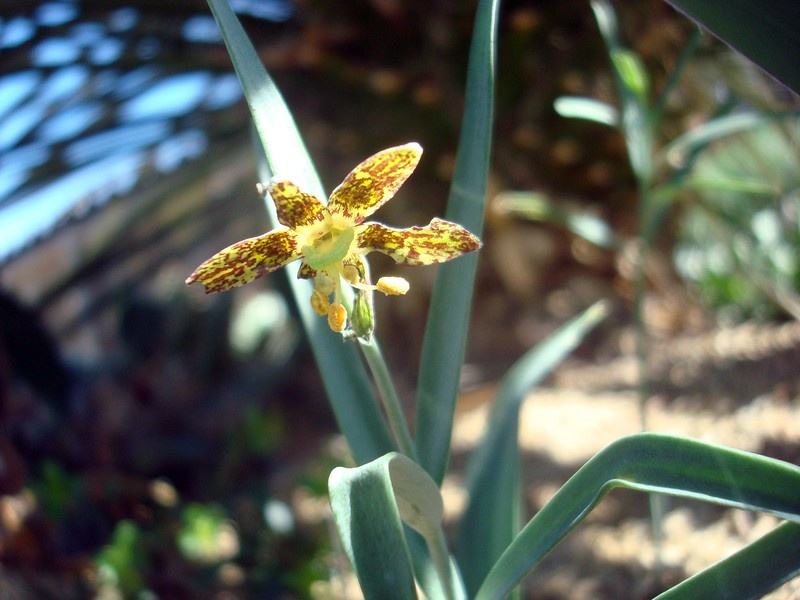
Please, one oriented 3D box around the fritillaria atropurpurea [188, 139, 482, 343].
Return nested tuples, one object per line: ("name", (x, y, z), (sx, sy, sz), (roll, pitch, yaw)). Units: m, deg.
("fritillaria atropurpurea", (-0.117, -0.094, 2.077), (0.512, 0.480, 0.220), (-3, 70, -10))
